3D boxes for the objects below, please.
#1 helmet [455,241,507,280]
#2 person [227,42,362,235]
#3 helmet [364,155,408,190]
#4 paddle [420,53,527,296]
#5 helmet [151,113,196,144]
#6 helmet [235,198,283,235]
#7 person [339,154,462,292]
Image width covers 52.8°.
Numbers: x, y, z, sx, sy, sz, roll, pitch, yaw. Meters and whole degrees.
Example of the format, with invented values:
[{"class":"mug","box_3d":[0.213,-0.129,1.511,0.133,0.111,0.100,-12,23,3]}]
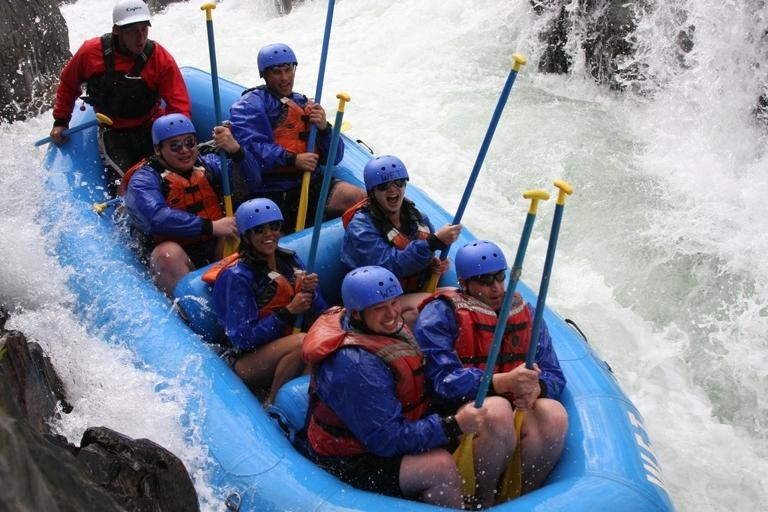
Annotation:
[{"class":"helmet","box_3d":[0.626,0.031,5.243,0.297,0.287,0.254,-15,-3,42]},{"class":"person","box_3d":[-0.711,-1.034,6.493,1.096,1.494,1.073,3,11,26]},{"class":"helmet","box_3d":[-0.008,-0.598,5.823,0.233,0.279,0.283,-12,2,-30]},{"class":"paddle","box_3d":[0.888,-0.792,7.613,0.347,3.160,0.309,26,21,10]},{"class":"helmet","box_3d":[-1.644,-1.007,6.033,0.224,0.231,0.297,-14,-11,-30]},{"class":"helmet","box_3d":[-0.887,-0.298,5.494,0.235,0.235,0.300,-13,-15,-36]},{"class":"person","box_3d":[0.130,-0.096,5.911,0.898,1.297,0.886,-6,9,4]}]
